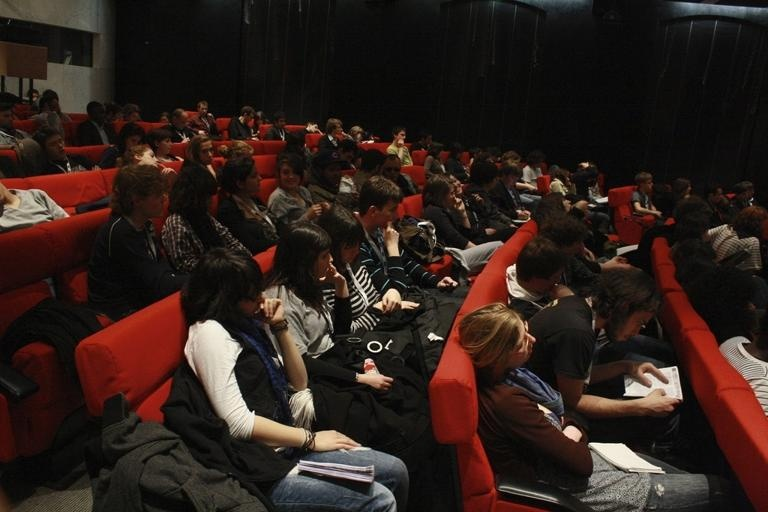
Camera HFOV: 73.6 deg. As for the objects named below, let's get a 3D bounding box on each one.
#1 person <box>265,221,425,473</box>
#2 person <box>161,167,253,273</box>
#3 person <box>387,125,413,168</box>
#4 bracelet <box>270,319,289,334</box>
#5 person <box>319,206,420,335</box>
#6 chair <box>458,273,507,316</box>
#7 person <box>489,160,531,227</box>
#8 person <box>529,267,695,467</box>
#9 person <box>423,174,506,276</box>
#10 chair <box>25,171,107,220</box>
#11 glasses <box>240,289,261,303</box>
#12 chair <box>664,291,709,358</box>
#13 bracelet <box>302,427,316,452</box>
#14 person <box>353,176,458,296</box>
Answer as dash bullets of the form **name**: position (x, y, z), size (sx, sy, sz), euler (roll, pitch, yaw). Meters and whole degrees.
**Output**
- **person**: position (-0.073, 0.432, 3.170), size (0.947, 0.636, 1.330), euler (5, 17, 17)
- **person**: position (-1.365, -0.213, 3.974), size (0.641, 0.939, 0.653), euler (4, 19, 3)
- **person**: position (0.288, -2.078, 10.023), size (0.494, 0.860, 0.646), euler (3, 28, 15)
- **bracelet**: position (-0.538, 0.365, 2.673), size (0.072, 0.040, 0.072), euler (-15, 7, 38)
- **person**: position (-0.153, 0.161, 3.511), size (0.732, 0.748, 0.490), euler (8, 29, 28)
- **chair**: position (0.618, 0.232, 3.218), size (0.180, 0.233, 0.605), euler (-2, 11, 28)
- **person**: position (1.839, -0.841, 7.478), size (0.565, 1.012, 0.639), euler (-9, -11, 32)
- **person**: position (1.422, 0.841, 3.201), size (1.110, 1.355, 0.631), euler (5, 13, 24)
- **person**: position (0.879, -0.158, 5.512), size (0.796, 1.384, 0.595), euler (-13, -1, 4)
- **chair**: position (-2.757, -0.636, 4.760), size (0.783, 0.280, 0.254), euler (-4, 16, 14)
- **glasses**: position (-0.659, 0.200, 2.570), size (0.041, 0.056, 0.073), euler (49, 31, 15)
- **chair**: position (2.059, 0.479, 3.520), size (0.133, 0.173, 0.432), euler (-6, 26, 8)
- **bracelet**: position (-0.356, 0.885, 2.475), size (0.080, 0.043, 0.084), euler (-7, 49, -29)
- **person**: position (0.206, -0.109, 4.270), size (1.061, 1.043, 0.608), euler (-1, 21, 0)
